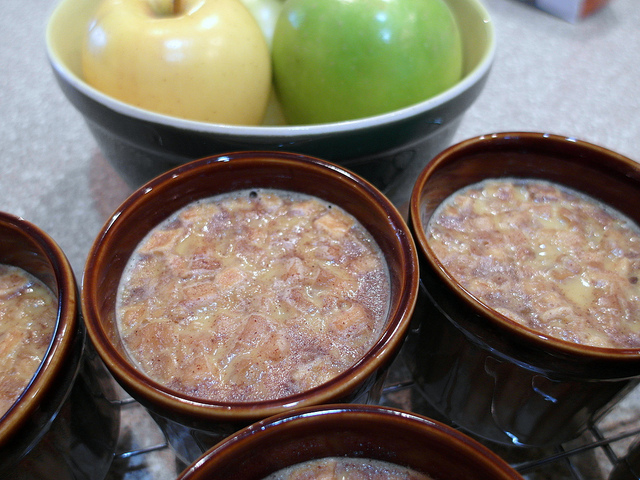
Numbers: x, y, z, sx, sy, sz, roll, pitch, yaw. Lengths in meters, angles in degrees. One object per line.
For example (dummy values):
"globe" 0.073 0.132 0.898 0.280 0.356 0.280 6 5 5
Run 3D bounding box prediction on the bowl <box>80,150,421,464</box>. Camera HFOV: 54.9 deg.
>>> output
"bowl" -0.066 0.085 0.709 0.331 0.247 0.340 0 55 0
